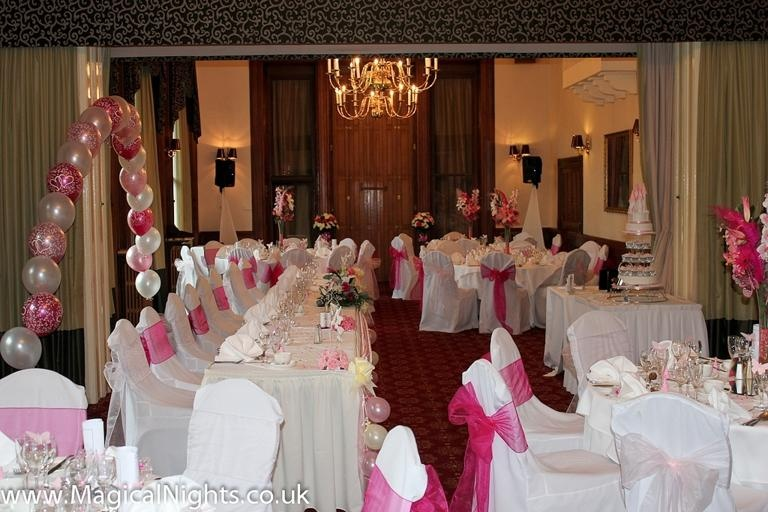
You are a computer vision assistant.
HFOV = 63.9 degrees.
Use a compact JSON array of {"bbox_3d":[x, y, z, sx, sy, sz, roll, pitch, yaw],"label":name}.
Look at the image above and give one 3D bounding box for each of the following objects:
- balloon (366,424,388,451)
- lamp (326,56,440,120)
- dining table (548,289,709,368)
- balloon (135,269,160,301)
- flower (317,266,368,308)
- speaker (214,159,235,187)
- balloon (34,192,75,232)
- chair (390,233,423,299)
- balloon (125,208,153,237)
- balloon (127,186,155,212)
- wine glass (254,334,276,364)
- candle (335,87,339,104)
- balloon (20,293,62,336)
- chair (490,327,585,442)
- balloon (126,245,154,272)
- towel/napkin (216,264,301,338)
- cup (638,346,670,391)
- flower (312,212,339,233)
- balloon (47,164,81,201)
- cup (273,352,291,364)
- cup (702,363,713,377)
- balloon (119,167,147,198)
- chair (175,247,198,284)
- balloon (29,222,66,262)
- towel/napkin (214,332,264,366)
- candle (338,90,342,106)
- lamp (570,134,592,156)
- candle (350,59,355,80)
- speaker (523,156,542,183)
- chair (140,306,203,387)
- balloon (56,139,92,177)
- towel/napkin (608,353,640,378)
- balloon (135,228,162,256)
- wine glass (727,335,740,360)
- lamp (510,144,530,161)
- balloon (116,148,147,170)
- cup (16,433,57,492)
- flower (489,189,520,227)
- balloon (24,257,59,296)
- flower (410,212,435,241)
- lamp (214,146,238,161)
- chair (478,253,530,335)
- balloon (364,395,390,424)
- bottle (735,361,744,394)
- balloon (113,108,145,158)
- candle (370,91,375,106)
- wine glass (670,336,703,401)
[{"bbox_3d":[-0.038,1.298,4.518,0.181,0.261,0.204,1,-7,1],"label":"balloon"},{"bbox_3d":[-0.018,-3.393,12.349,1.697,1.123,1.722,-5,8,-37],"label":"lamp"},{"bbox_3d":[2.713,0.682,6.805,1.128,0.833,1.258,1,1,0],"label":"dining table"},{"bbox_3d":[-3.141,0.393,8.316,0.326,0.485,0.353,-4,-4,25],"label":"balloon"},{"bbox_3d":[-0.475,0.347,6.444,0.409,0.252,0.436,9,13,28],"label":"flower"},{"bbox_3d":[-3.543,-1.853,13.804,0.449,0.656,0.438,-1,7,-17],"label":"speaker"},{"bbox_3d":[-3.174,-0.447,6.043,0.312,0.417,0.360,2,-38,-19],"label":"balloon"},{"bbox_3d":[0.420,0.232,12.415,0.580,1.271,0.550,1,7,-5],"label":"chair"},{"bbox_3d":[-3.237,-0.457,8.207,0.214,0.361,0.397,2,7,2],"label":"balloon"},{"bbox_3d":[-3.186,-0.758,8.071,0.282,0.428,0.327,0,7,6],"label":"balloon"},{"bbox_3d":[-0.927,0.735,4.860,0.142,0.218,0.073,0,-7,-11],"label":"wine glass"},{"bbox_3d":[-0.815,-2.869,11.025,0.079,0.256,0.251,0,7,-10],"label":"candle"},{"bbox_3d":[-3.388,0.615,6.053,0.331,0.474,0.385,1,-21,-15],"label":"balloon"},{"bbox_3d":[1.122,0.941,4.874,0.707,1.183,0.722,-8,6,14],"label":"chair"},{"bbox_3d":[-3.268,0.044,8.230,0.275,0.370,0.257,-1,7,-19],"label":"balloon"},{"bbox_3d":[-1.138,0.409,6.079,0.307,0.370,1.140,-3,37,13],"label":"towel/napkin"},{"bbox_3d":[1.870,0.786,4.252,0.182,0.359,0.218,4,12,30],"label":"cup"},{"bbox_3d":[-1.201,-0.688,12.778,0.462,0.391,0.517,2,-1,6],"label":"flower"},{"bbox_3d":[-3.135,-0.727,6.060,0.238,0.227,0.214,25,-13,0],"label":"balloon"},{"bbox_3d":[-0.766,0.769,4.646,0.079,0.070,0.087,2,-6,0],"label":"cup"},{"bbox_3d":[2.305,0.819,4.392,0.061,0.068,0.088,0,-9,-11],"label":"cup"},{"bbox_3d":[-3.181,-0.927,7.851,0.290,0.428,0.308,1,0,-25],"label":"balloon"},{"bbox_3d":[-3.182,0.156,9.890,0.297,0.582,1.187,-1,7,-19],"label":"chair"},{"bbox_3d":[-3.303,-0.139,6.040,0.273,0.375,0.303,17,-8,1],"label":"balloon"},{"bbox_3d":[-1.105,0.716,4.739,0.237,0.094,0.241,15,27,-19],"label":"towel/napkin"},{"bbox_3d":[-0.788,-2.844,11.067,0.095,0.223,0.322,1,7,-2],"label":"candle"},{"bbox_3d":[3.994,-2.288,12.534,0.339,0.424,0.425,2,7,2],"label":"lamp"},{"bbox_3d":[-0.506,-3.035,9.947,0.075,0.268,0.276,1,7,-3],"label":"candle"},{"bbox_3d":[3.307,-1.934,13.929,0.419,0.641,0.286,5,8,23],"label":"speaker"},{"bbox_3d":[-1.877,0.749,5.465,0.608,0.907,0.492,0,8,-8],"label":"chair"},{"bbox_3d":[-3.055,-0.978,6.137,0.291,0.352,0.371,-1,9,0],"label":"balloon"},{"bbox_3d":[1.709,0.772,4.361,0.141,0.071,0.144,-1,2,-34],"label":"towel/napkin"},{"bbox_3d":[-3.191,-0.185,8.341,0.321,0.464,0.333,11,-8,-30],"label":"balloon"},{"bbox_3d":[2.439,0.639,4.305,0.067,0.137,0.213,6,8,32],"label":"wine glass"},{"bbox_3d":[3.091,-2.413,14.102,0.439,0.527,0.312,-1,1,-5],"label":"lamp"},{"bbox_3d":[-3.153,-1.245,7.739,0.320,0.326,0.359,-2,-14,-11],"label":"balloon"},{"bbox_3d":[-1.779,1.038,3.165,0.200,0.275,0.145,7,9,37],"label":"cup"},{"bbox_3d":[2.113,-0.843,10.886,0.412,0.605,0.743,2,7,7],"label":"flower"},{"bbox_3d":[-3.328,0.182,5.986,0.308,0.381,0.181,-3,8,-30],"label":"balloon"},{"bbox_3d":[0.883,-0.678,13.533,0.564,0.764,0.609,-3,1,-25],"label":"flower"},{"bbox_3d":[-3.543,-2.315,13.842,0.491,0.307,0.480,1,7,-10],"label":"lamp"},{"bbox_3d":[1.815,0.614,9.421,0.834,1.718,0.958,2,11,19],"label":"chair"},{"bbox_3d":[-0.053,1.180,4.664,0.174,0.249,0.204,2,7,6],"label":"balloon"},{"bbox_3d":[2.406,0.828,4.172,0.057,0.209,0.053,1,7,0],"label":"bottle"},{"bbox_3d":[-3.048,-1.410,7.311,0.298,0.641,0.267,-4,20,-9],"label":"balloon"},{"bbox_3d":[-0.199,-2.884,11.263,0.094,0.303,0.226,1,7,2],"label":"candle"},{"bbox_3d":[2.069,0.763,4.238,0.206,0.319,0.387,5,8,30],"label":"wine glass"}]
